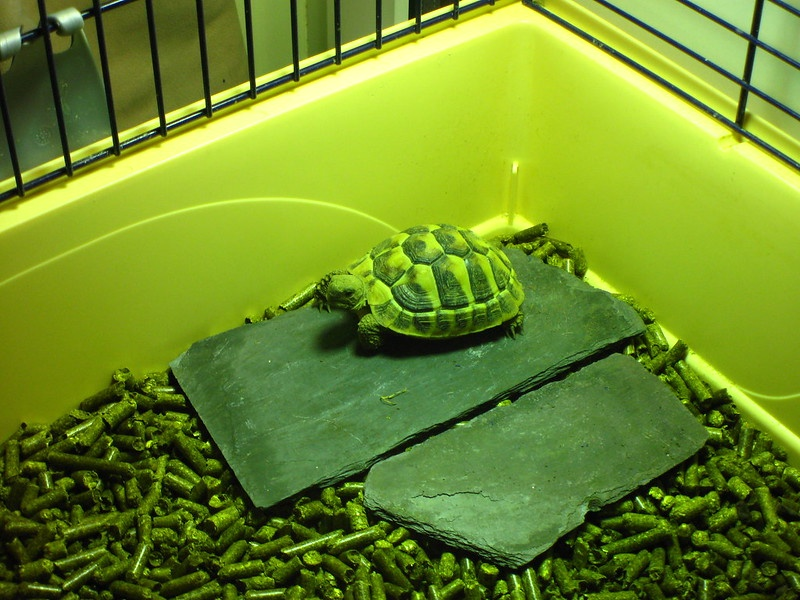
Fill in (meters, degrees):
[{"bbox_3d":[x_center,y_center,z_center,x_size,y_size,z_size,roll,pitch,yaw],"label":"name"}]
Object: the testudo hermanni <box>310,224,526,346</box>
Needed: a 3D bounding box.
[{"bbox_3d":[0.095,-0.064,2.634,0.571,0.280,0.414,-7,39,-23],"label":"testudo hermanni"}]
